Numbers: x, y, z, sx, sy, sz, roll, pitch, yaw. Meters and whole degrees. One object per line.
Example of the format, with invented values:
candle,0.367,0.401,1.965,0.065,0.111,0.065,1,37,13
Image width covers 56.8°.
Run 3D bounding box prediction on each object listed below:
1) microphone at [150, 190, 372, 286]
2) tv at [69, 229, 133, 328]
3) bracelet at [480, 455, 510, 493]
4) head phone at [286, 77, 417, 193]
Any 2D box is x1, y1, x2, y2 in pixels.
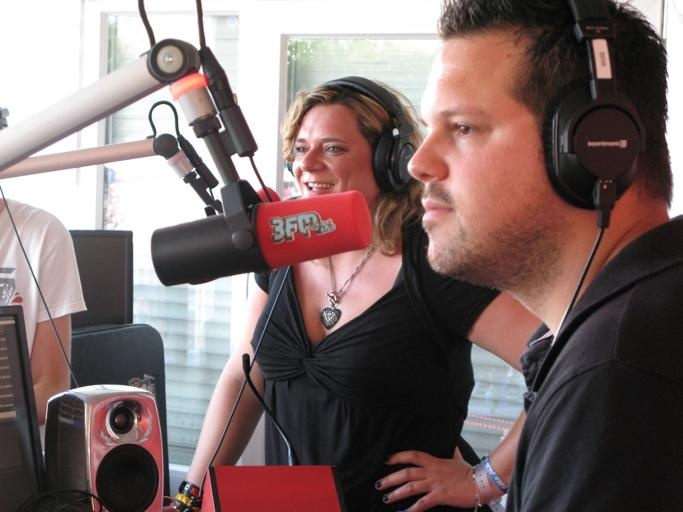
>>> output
microphone,-0.126,-0.026,1.143,0.389,0.152,0.157,-15,-13,9
tv,-0.880,0.075,2.300,0.337,0.403,0.027,0,7,1
bracelet,0.421,0.607,1.749,0.038,0.091,0.072,-32,-3,9
head phone,0.043,-0.402,2.012,0.387,0.376,0.155,10,37,43
